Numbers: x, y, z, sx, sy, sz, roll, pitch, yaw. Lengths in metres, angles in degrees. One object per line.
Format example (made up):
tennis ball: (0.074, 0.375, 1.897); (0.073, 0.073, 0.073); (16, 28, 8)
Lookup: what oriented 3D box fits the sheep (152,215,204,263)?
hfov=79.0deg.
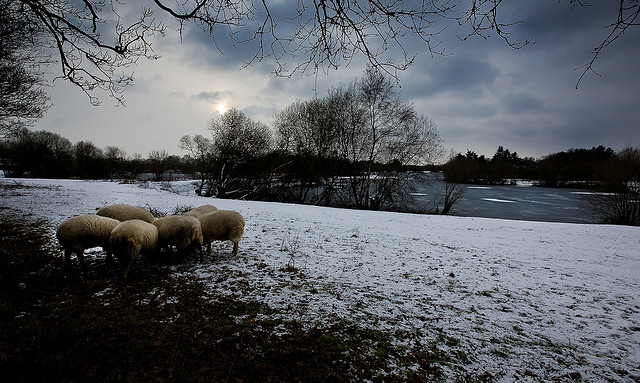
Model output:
sheep: (-6.149, 1.906, 16.359); (2.828, 1.950, 1.237); (8, 11, 28)

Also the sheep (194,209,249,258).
sheep: (-4.445, 1.815, 16.772); (2.559, 1.834, 1.118); (-2, -3, 6)

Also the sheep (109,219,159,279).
sheep: (-7.138, 2.193, 14.939); (1.601, 2.092, 0.859); (0, 6, -28)
